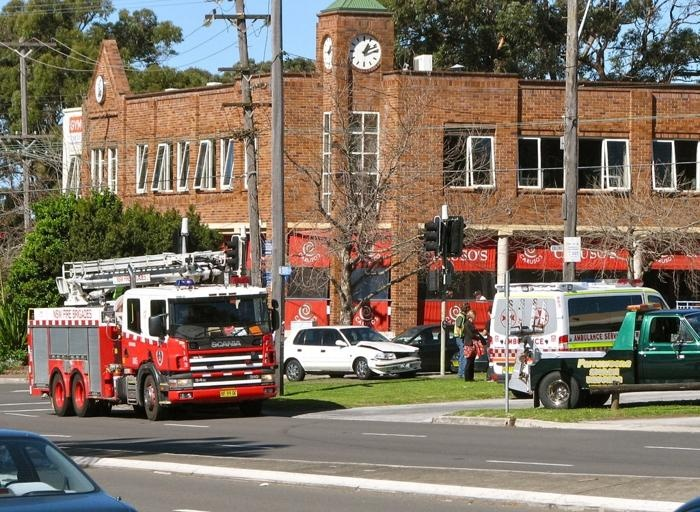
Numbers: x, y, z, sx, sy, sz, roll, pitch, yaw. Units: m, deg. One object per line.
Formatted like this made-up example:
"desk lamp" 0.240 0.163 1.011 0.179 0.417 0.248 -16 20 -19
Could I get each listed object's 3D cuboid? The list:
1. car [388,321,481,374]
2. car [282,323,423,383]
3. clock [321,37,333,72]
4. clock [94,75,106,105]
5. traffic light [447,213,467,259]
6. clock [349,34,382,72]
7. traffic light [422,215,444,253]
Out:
"car" 2.996 3.318 51.464 3.173 1.258 1.410 2 -4 -1
"car" -0.097 3.418 50.591 4.648 1.860 1.296 -3 -2 25
"clock" -0.907 -8.416 59.328 0.076 1.452 1.319 -1 3 -25
"clock" -11.647 -7.869 67.898 0.171 1.428 1.310 1 1 -20
"traffic light" 3.550 -0.606 47.277 0.340 1.172 0.770 3 -1 -30
"clock" 0.585 -8.326 59.147 1.060 1.163 0.094 25 -7 -3
"traffic light" 2.758 -0.682 47.349 0.580 1.287 0.647 -1 -2 -3
